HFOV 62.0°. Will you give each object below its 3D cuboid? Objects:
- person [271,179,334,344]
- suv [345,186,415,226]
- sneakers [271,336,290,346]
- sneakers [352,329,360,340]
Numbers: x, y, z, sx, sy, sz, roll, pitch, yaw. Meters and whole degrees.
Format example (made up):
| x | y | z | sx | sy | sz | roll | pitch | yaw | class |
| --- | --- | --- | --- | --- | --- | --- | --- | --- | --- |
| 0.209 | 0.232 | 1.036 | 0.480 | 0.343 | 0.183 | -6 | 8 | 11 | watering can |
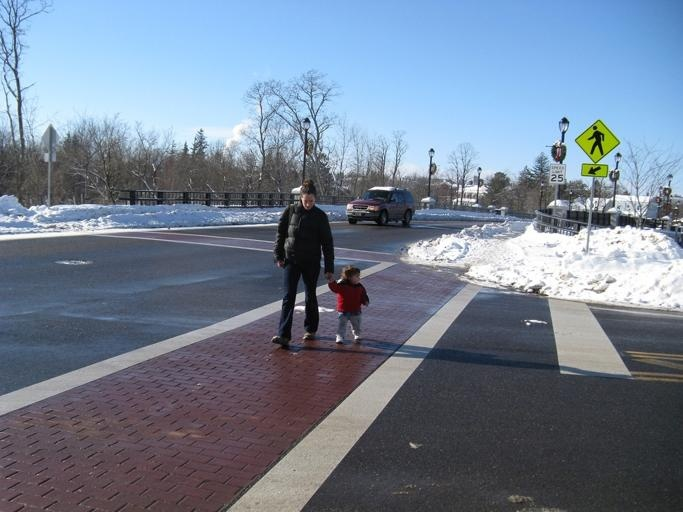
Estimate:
| x | y | z | sx | sy | sz | roll | pitch | yaw | class |
| --- | --- | --- | --- | --- | --- | --- | --- | --- | --- |
| -0.500 | 0.054 | 7.634 | 0.817 | 2.142 | 0.980 | 1 | 7 | -6 | person |
| 2.217 | -3.019 | 33.463 | 2.030 | 1.783 | 3.823 | 2 | 2 | 35 | suv |
| -0.791 | 1.075 | 7.338 | 0.216 | 0.151 | 0.207 | 1 | 8 | -9 | sneakers |
| 0.191 | 1.057 | 7.753 | 0.106 | 0.165 | 0.120 | -6 | -2 | 1 | sneakers |
